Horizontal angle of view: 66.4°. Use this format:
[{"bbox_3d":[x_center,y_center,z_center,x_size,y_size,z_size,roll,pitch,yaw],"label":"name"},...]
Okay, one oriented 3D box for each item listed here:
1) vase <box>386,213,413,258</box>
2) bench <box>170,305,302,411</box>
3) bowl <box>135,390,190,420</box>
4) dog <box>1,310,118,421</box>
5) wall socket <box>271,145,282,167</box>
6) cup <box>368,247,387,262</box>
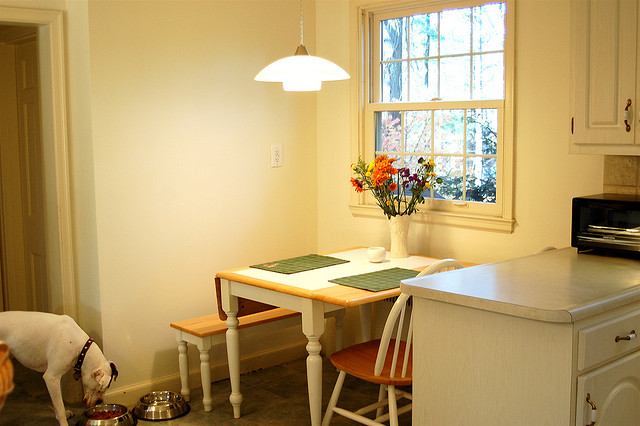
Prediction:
[{"bbox_3d":[0.561,0.158,3.512,0.157,0.309,0.179,0,10,6],"label":"vase"},{"bbox_3d":[-0.591,1.050,3.723,0.376,0.489,1.034,-3,-1,37],"label":"bench"},{"bbox_3d":[-1.083,1.308,3.356,0.358,0.122,0.251,-2,9,-6],"label":"bowl"},{"bbox_3d":[-1.601,0.913,3.007,0.574,0.655,0.287,1,10,11],"label":"dog"},{"bbox_3d":[-0.366,-0.471,4.035,0.024,0.221,0.167,7,11,43],"label":"wall socket"},{"bbox_3d":[0.398,0.282,3.359,0.102,0.069,0.097,-4,9,1],"label":"cup"}]
